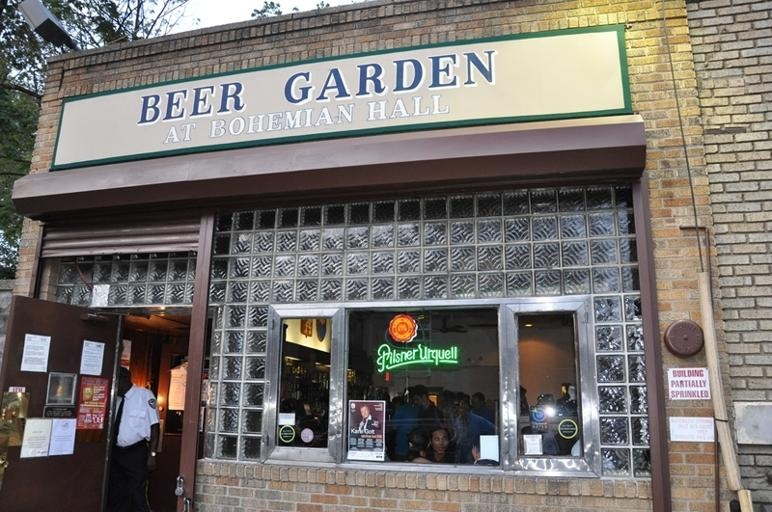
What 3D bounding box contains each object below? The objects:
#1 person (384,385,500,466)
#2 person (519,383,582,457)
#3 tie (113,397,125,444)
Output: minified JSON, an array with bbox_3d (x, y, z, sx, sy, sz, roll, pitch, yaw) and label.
[{"bbox_3d":[0.682,2.131,7.651,1.335,0.952,0.297,-2,-17,2],"label":"person"},{"bbox_3d":[2.029,2.025,7.396,0.852,0.847,0.253,-1,-4,13],"label":"person"},{"bbox_3d":[-3.934,2.437,8.988,0.114,0.693,0.117,2,-17,-13],"label":"tie"}]
